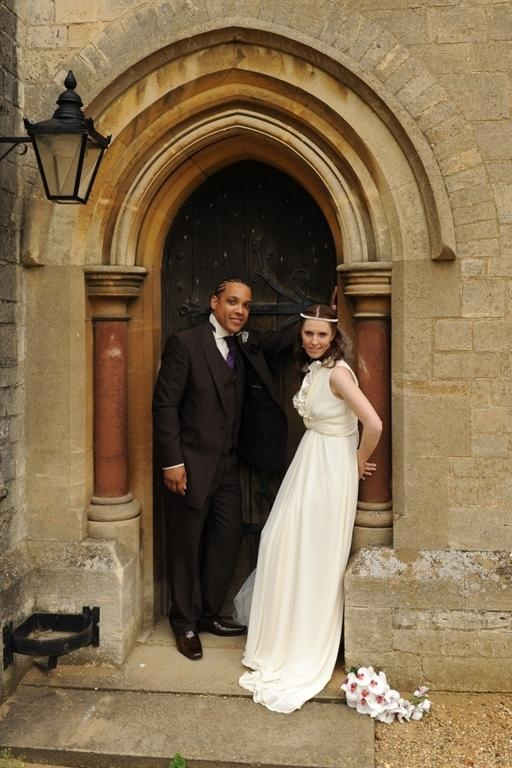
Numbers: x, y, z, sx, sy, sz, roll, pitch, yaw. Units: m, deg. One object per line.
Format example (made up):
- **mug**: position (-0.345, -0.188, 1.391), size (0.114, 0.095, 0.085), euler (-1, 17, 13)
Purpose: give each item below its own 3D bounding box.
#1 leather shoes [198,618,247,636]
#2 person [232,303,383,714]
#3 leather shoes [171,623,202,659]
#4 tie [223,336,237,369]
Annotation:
- **leather shoes**: position (-0.165, 1.207, 4.809), size (0.263, 0.109, 0.087), euler (-1, 3, 5)
- **person**: position (0.229, 0.520, 4.237), size (0.598, 1.711, 0.444), euler (0, -2, 4)
- **leather shoes**: position (-0.330, 1.218, 4.533), size (0.069, 0.082, 0.201), euler (-1, 1, -24)
- **tie**: position (-0.125, -0.143, 4.615), size (0.039, 0.121, 0.091), euler (1, -4, 15)
